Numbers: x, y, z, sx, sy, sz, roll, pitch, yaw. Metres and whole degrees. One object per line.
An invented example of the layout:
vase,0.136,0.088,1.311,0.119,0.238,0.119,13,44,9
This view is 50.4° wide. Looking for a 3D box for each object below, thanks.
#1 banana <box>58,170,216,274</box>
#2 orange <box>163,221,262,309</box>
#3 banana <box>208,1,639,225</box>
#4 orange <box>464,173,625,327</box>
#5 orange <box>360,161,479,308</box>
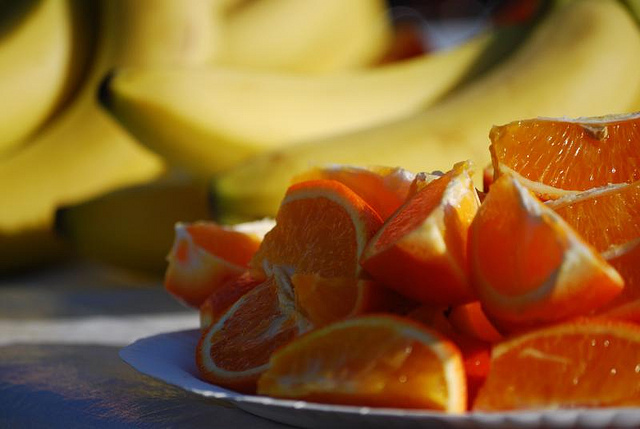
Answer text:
banana,-0.333,0.012,1.315,0.090,0.190,0.285,-15,1,44
orange,-0.128,0.055,0.965,0.134,0.065,0.141,-4,19,-33
banana,0.155,-0.185,1.202,0.581,0.214,0.153,-27,32,-14
orange,0.301,0.024,0.732,0.189,0.146,0.208,9,1,39
orange,0.109,0.019,0.739,0.127,0.137,0.096,4,21,3
